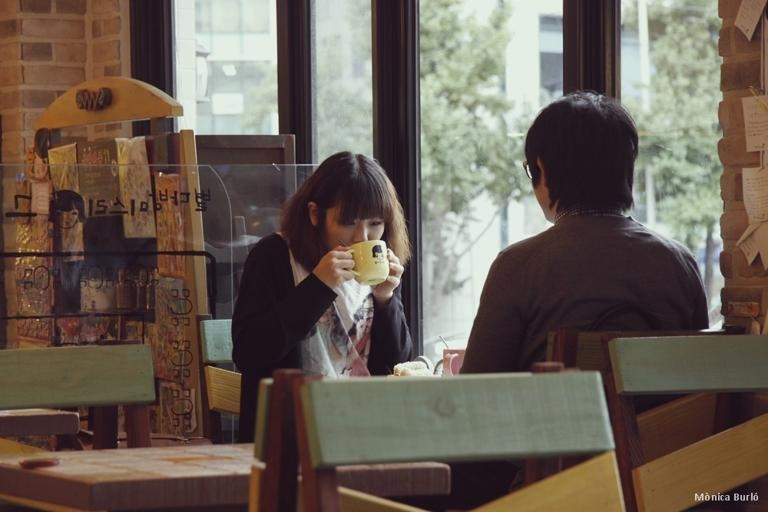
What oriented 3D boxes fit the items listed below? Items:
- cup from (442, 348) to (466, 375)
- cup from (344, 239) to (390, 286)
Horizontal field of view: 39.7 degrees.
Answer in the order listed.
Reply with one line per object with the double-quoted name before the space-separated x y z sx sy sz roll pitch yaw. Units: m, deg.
"cup" 0.210 0.323 3.260 0.058 0.111 0.111 -1 0 18
"cup" -0.050 0.019 3.320 0.116 0.137 0.109 -1 -2 0
